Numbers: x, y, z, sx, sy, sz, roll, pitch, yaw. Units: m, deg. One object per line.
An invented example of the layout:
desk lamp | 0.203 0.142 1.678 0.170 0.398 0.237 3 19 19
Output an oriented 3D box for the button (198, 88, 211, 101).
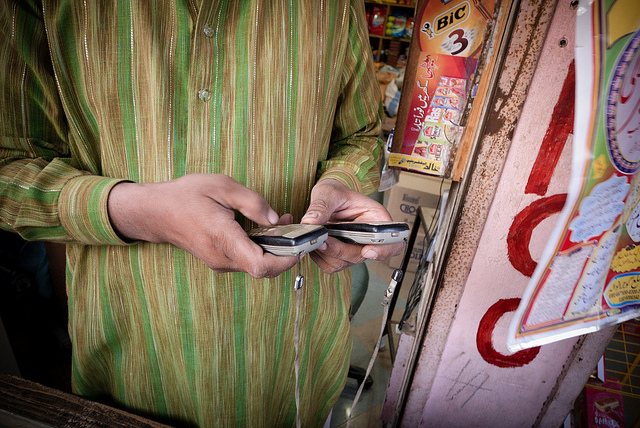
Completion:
button | -0.319 -0.328 1.202 0.030 0.034 0.010 0 17 -21

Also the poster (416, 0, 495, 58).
poster | 0.442 -0.594 1.389 0.203 0.204 0.029 11 27 10

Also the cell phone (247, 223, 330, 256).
cell phone | -0.089 0.058 1.116 0.211 0.077 0.118 7 17 3

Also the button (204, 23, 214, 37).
button | -0.302 -0.496 1.179 0.027 0.035 0.005 -9 21 -41
